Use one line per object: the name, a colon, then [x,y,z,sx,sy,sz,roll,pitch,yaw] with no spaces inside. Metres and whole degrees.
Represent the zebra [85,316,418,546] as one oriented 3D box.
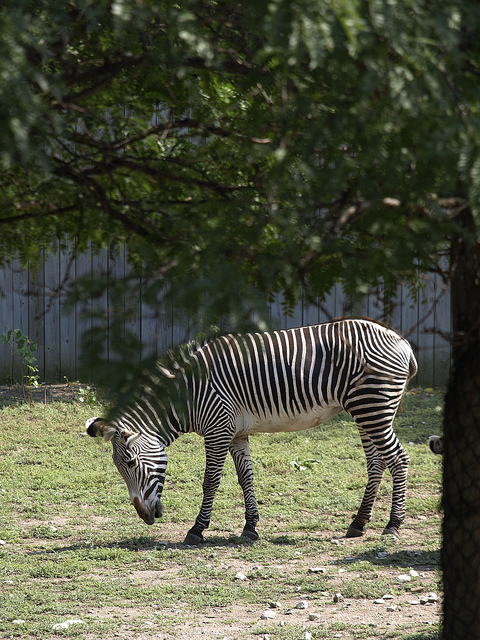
zebra: [0.091,0.593,6.895,1.649,1.121,0.450,-4,-3,3]
